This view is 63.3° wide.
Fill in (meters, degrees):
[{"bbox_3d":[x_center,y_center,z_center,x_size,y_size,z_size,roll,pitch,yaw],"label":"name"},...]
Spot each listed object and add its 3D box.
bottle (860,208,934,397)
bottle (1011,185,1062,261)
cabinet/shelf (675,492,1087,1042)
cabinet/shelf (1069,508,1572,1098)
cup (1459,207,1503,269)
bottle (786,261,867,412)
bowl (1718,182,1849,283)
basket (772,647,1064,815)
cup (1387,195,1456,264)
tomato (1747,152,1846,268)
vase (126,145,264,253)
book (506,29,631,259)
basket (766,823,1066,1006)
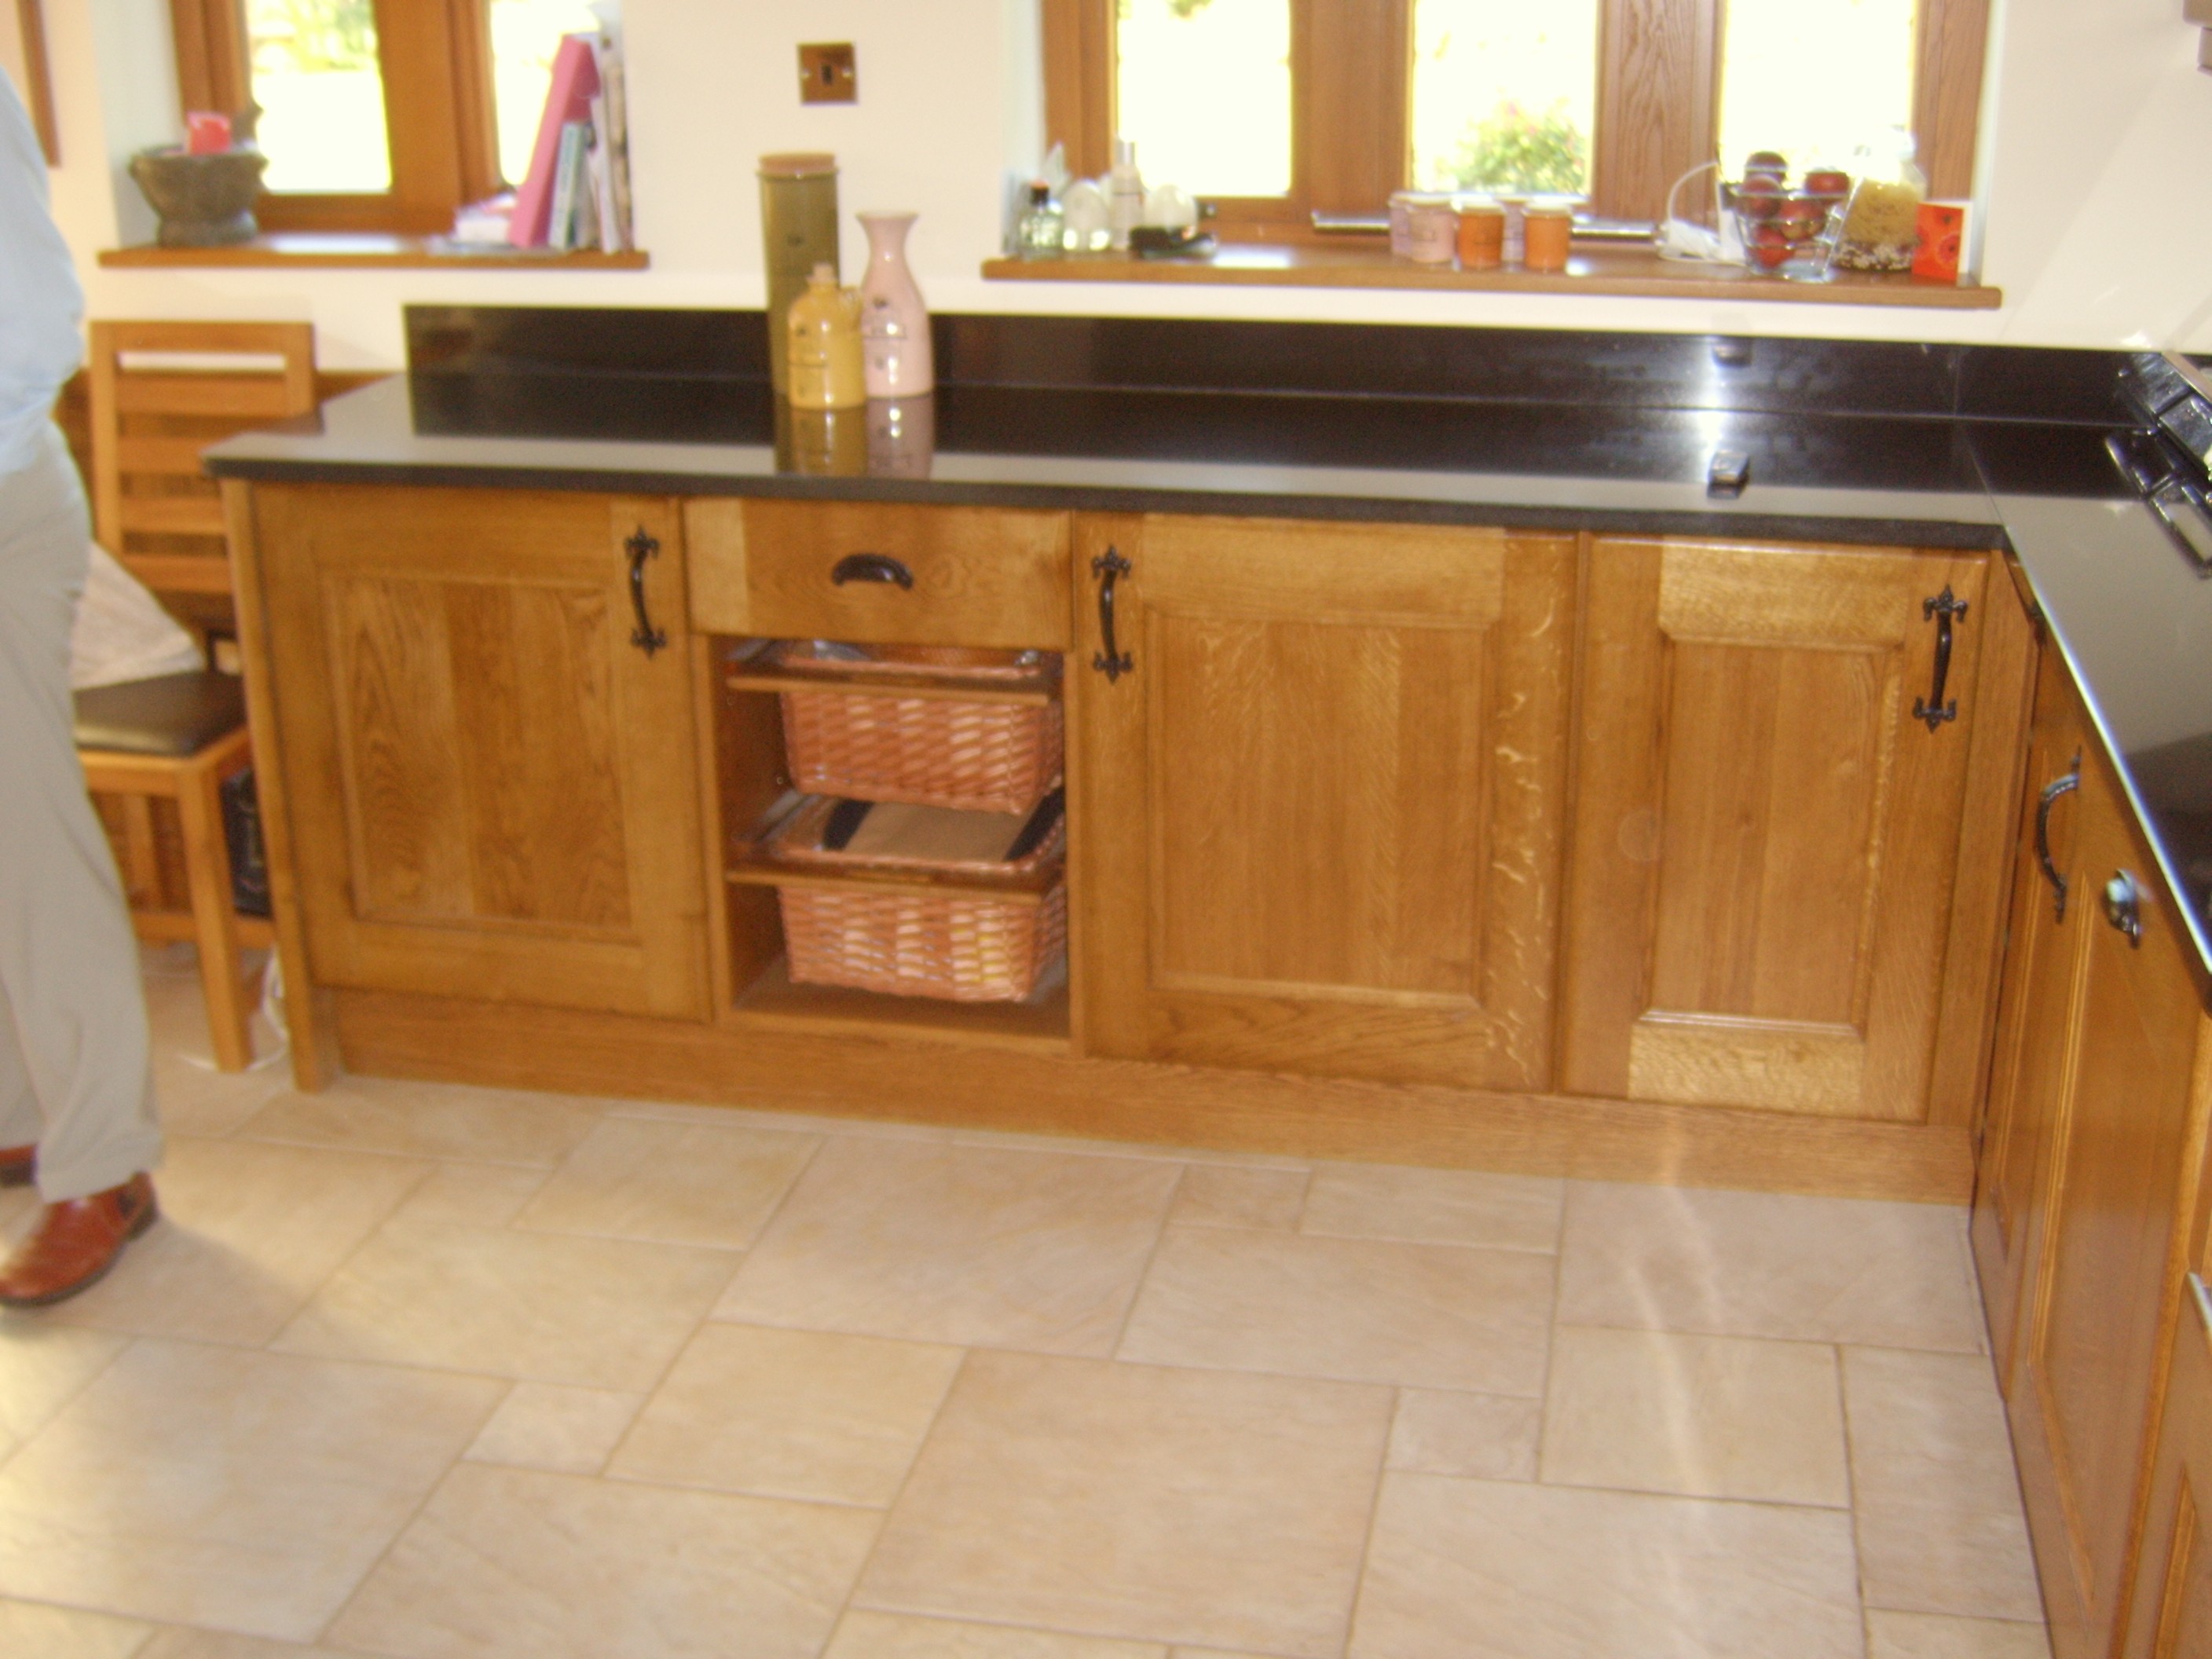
[{"bbox_3d":[-0.346,-0.858,2.955,0.122,0.296,0.093,-7,23,-14],"label":"bottle"},{"bbox_3d":[-0.125,-1.042,3.072,0.079,0.120,0.137,-6,22,-13],"label":"bottle"},{"bbox_3d":[-0.341,-0.091,2.901,0.739,0.779,0.711,2,5,23],"label":"cabinet/shelf"},{"bbox_3d":[0.237,-0.166,3.005,1.026,1.107,0.757,3,19,11],"label":"cabinet/shelf"},{"bbox_3d":[0.613,-0.981,2.986,0.094,0.089,0.094,-1,25,1],"label":"cup"},{"bbox_3d":[-0.465,-0.800,2.933,0.126,0.225,0.134,-1,22,0],"label":"bottle"},{"bbox_3d":[1.106,-0.947,2.941,0.215,0.143,0.207,5,4,0],"label":"bowl"},{"bbox_3d":[-0.308,-0.106,3.084,0.479,0.294,0.610,2,-1,2],"label":"basket"},{"bbox_3d":[0.527,-0.986,2.964,0.079,0.103,0.105,-14,26,-30],"label":"cup"},{"bbox_3d":[1.094,-0.995,2.884,0.185,0.137,0.167,-21,31,-39],"label":"tomato"},{"bbox_3d":[-1.689,-1.165,3.319,0.215,0.162,0.221,1,26,-2],"label":"vase"},{"bbox_3d":[-0.961,-1.225,3.212,0.232,0.409,0.363,-2,34,-24],"label":"book"},{"bbox_3d":[-0.304,0.141,2.854,0.371,0.158,0.267,1,13,4],"label":"basket"}]
